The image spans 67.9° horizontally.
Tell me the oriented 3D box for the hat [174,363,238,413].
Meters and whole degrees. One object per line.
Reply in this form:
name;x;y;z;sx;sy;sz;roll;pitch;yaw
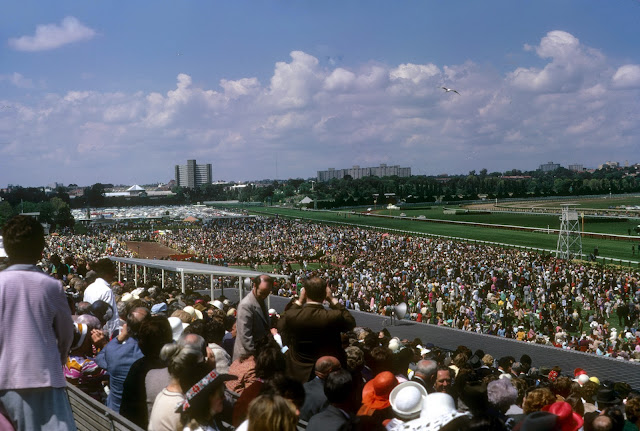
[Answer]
hat;-1.197;1.720;4.827;0.561;0.195;0.801;-37;-7;-6

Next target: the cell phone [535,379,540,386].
cell phone;3.652;2.788;7.942;0.068;0.093;0.127;-11;-8;33

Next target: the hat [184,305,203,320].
hat;-2.386;1.814;8.893;0.296;0.124;0.321;26;-1;-39

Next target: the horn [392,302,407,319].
horn;2.348;2.744;13.781;0.268;0.589;0.941;-3;2;4
